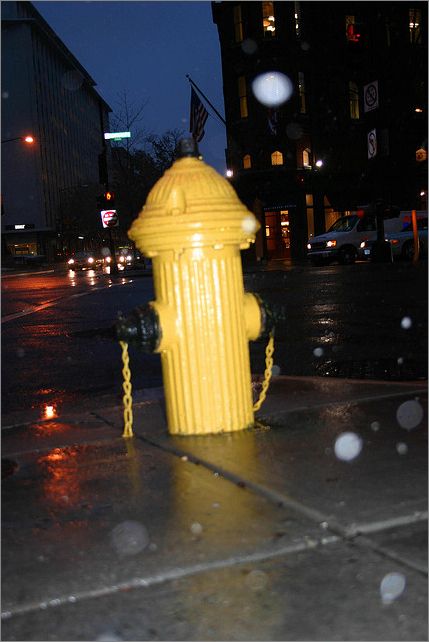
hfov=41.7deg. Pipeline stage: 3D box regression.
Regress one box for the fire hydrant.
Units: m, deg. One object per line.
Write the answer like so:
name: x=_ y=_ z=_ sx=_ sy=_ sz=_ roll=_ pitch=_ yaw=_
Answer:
fire hydrant: x=-0.120 y=-0.197 z=3.084 sx=0.781 sy=1.670 sz=0.370 roll=-6 pitch=3 yaw=-9

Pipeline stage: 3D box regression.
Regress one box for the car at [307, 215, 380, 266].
car: x=6.178 y=-4.014 z=27.369 sx=3.156 sy=2.439 sz=1.250 roll=-6 pitch=3 yaw=-7

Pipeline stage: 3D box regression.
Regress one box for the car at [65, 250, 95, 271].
car: x=-13.758 y=-6.263 z=57.584 sx=2.433 sy=1.602 sz=3.388 roll=-4 pitch=3 yaw=16
